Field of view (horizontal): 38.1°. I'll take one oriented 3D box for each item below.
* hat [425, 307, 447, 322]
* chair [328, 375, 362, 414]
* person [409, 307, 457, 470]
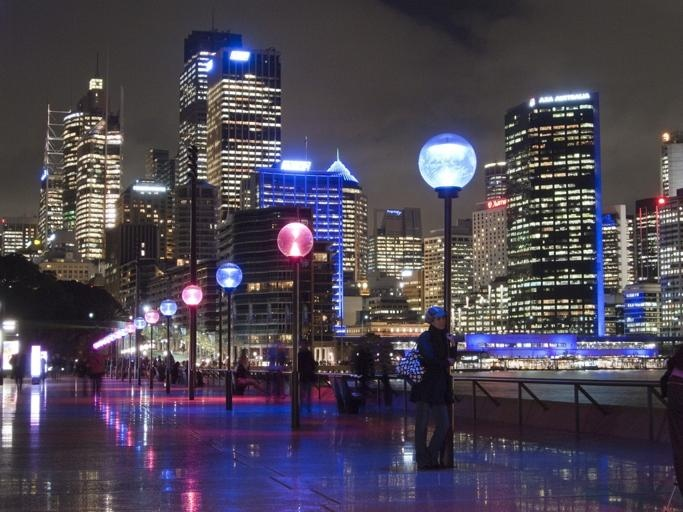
[{"bbox_3d":[1.496,0.938,15.877,0.361,0.276,0.389,-2,-10,13],"label":"hat"},{"bbox_3d":[0.234,3.952,28.009,0.846,1.051,0.992,-3,-6,38],"label":"chair"},{"bbox_3d":[1.478,2.142,15.918,0.695,2.599,0.827,0,-8,3],"label":"person"}]
